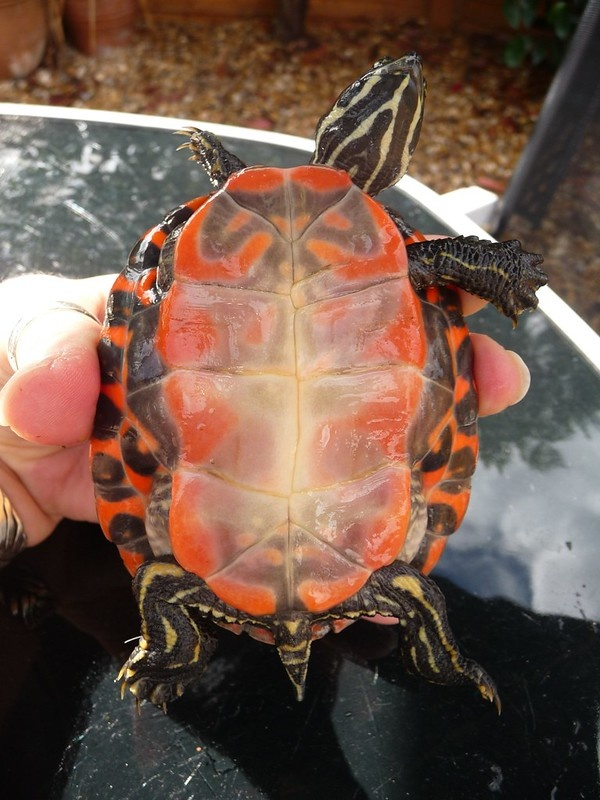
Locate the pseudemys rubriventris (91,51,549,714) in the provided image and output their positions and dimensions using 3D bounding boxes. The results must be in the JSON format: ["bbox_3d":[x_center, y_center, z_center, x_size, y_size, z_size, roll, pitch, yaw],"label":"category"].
[{"bbox_3d":[-0.020,-0.050,1.572,0.919,0.326,1.006,2,85,-4],"label":"pseudemys rubriventris"}]
